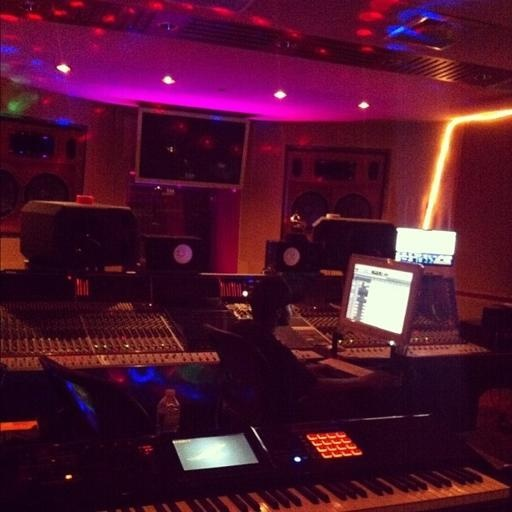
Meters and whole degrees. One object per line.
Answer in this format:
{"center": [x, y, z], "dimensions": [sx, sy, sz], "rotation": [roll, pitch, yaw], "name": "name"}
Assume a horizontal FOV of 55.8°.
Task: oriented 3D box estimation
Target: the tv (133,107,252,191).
{"center": [-0.626, -1.029, 4.728], "dimensions": [1.053, 0.688, 0.253], "rotation": [5, 5, -9], "name": "tv"}

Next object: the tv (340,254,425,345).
{"center": [0.485, 0.180, 1.877], "dimensions": [0.042, 0.317, 0.305], "rotation": [14, -1, -42], "name": "tv"}

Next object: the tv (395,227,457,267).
{"center": [0.930, -0.079, 2.684], "dimensions": [0.395, 0.298, 0.089], "rotation": [8, -18, -32], "name": "tv"}

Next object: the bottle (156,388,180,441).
{"center": [-0.395, 0.708, 2.212], "dimensions": [0.108, 0.249, 0.104], "rotation": [3, 16, -1], "name": "bottle"}

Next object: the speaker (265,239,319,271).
{"center": [0.137, -0.005, 2.392], "dimensions": [0.153, 0.171, 0.379], "rotation": [2, 6, -34], "name": "speaker"}
